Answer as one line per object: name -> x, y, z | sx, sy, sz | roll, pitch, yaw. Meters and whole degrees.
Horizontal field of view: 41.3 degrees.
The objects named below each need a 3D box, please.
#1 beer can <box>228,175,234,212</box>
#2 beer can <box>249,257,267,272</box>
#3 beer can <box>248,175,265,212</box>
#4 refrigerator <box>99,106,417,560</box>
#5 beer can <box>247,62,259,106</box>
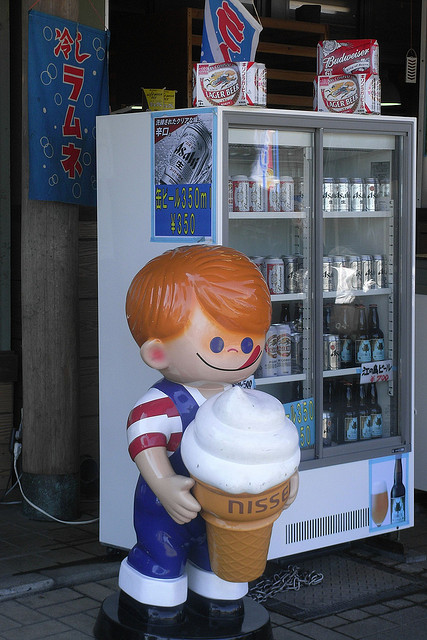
beer can -> 0.073, -0.537, 2.382 | 0.019, 0.148, 0.063 | 1, -4, 11
beer can -> 0.213, -0.261, 2.682 | 0.053, 0.090, 0.055 | 0, 6, 0
beer can -> 0.185, -0.568, 2.521 | 0.100, 0.172, 0.040 | 5, -6, -44
refrigerator -> 0.203, -0.194, 3.049 | 1.458, 2.222, 0.719 | -5, 8, -31
beer can -> 0.148, -0.923, 2.213 | 0.055, 0.226, 0.054 | 1, -18, 0
